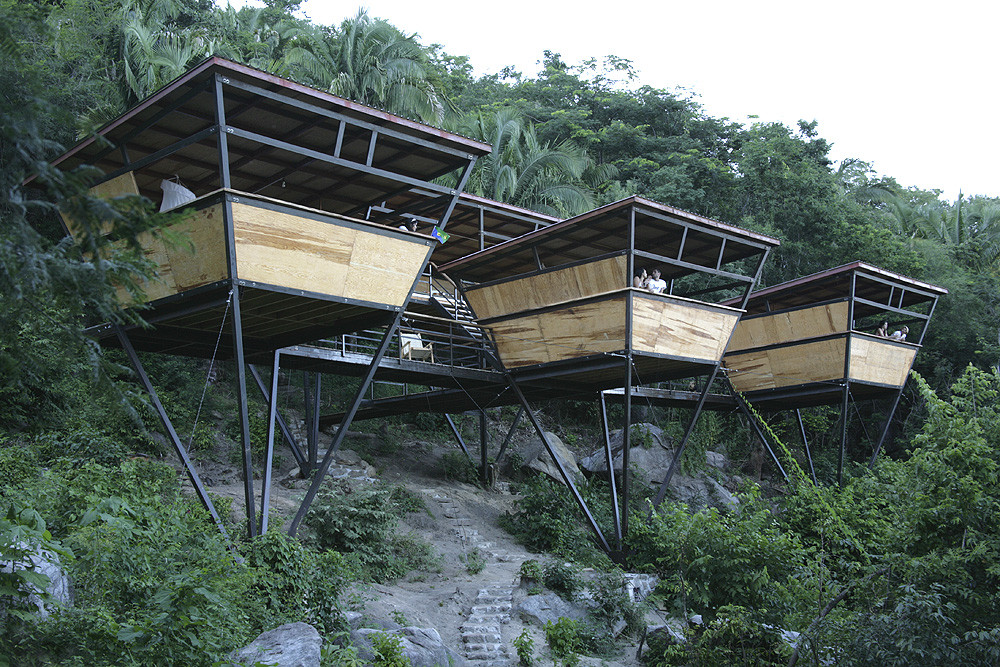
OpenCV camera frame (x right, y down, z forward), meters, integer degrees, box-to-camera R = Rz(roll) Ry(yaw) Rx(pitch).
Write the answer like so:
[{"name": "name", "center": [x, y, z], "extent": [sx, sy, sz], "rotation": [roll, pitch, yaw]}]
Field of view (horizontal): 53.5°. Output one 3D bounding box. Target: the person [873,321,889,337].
[{"name": "person", "center": [11.824, -0.156, 30.652], "extent": [0.278, 0.667, 1.179], "rotation": [5, -7, 26]}]

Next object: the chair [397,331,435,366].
[{"name": "chair", "center": [-2.315, 0.409, 27.494], "extent": [0.898, 1.053, 0.865], "rotation": [7, -38, -17]}]

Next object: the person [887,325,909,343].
[{"name": "person", "center": [13.459, 0.013, 33.526], "extent": [0.769, 0.415, 1.203], "rotation": [2, -2, 36]}]
